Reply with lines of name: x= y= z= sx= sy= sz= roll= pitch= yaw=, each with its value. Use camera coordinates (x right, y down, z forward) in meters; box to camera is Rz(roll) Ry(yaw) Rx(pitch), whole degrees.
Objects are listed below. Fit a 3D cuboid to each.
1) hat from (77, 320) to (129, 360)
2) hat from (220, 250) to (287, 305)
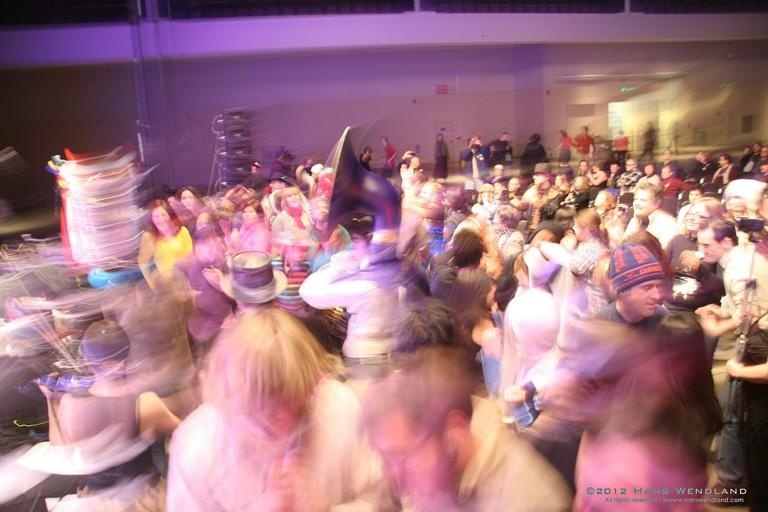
hat: x=-1.577 y=0.494 z=2.857 sx=0.230 sy=0.257 sz=0.216 roll=-1 pitch=13 yaw=-22
hat: x=-0.708 y=0.125 z=2.772 sx=0.285 sy=0.124 sz=0.314 roll=3 pitch=27 yaw=4
